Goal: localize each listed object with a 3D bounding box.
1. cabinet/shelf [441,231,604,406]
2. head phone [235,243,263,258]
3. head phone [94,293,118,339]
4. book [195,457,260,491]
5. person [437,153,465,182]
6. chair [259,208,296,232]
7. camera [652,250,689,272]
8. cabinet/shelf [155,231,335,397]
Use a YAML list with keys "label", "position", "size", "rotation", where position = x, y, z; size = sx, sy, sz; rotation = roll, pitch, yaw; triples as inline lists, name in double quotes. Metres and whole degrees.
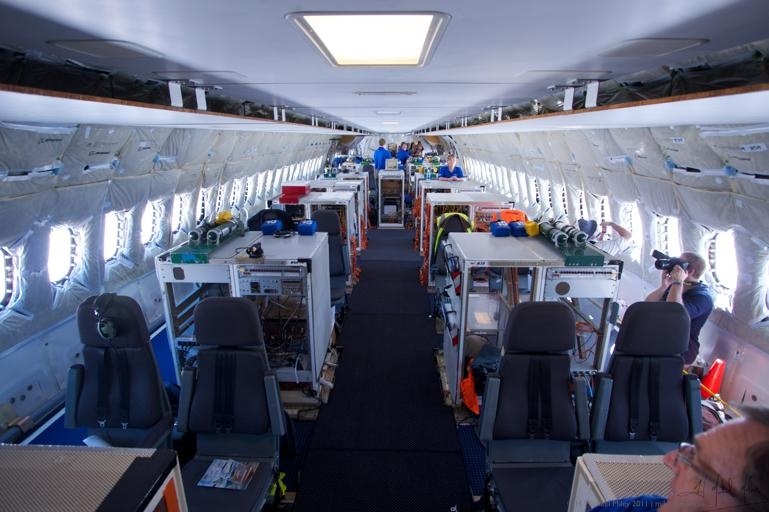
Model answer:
- label: "cabinet/shelf"
  position: [2.246, 0.332, 7.495]
  size: [2.666, 2.506, 2.617]
  rotation: [1, 20, 2]
- label: "head phone"
  position: [-1.925, -0.064, 6.610]
  size: [0.303, 0.143, 0.264]
  rotation: [-2, 7, 6]
- label: "head phone"
  position: [-3.026, 0.641, 5.046]
  size: [0.224, 0.462, 0.151]
  rotation: [0, 3, -2]
- label: "book"
  position: [-1.710, 2.379, 5.115]
  size: [0.565, 0.156, 0.343]
  rotation: [1, 3, 8]
- label: "person"
  position: [2.126, -2.735, 15.067]
  size: [1.072, 1.067, 1.340]
  rotation: [0, 7, 2]
- label: "chair"
  position: [-2.012, -0.728, 8.946]
  size: [0.508, 0.637, 0.638]
  rotation: [3, 9, 3]
- label: "camera"
  position: [4.493, 0.089, 7.397]
  size: [0.471, 0.206, 0.346]
  rotation: [6, 19, -3]
- label: "cabinet/shelf"
  position: [-2.213, 1.070, 7.363]
  size: [2.126, 1.910, 2.055]
  rotation: [0, -5, -9]
